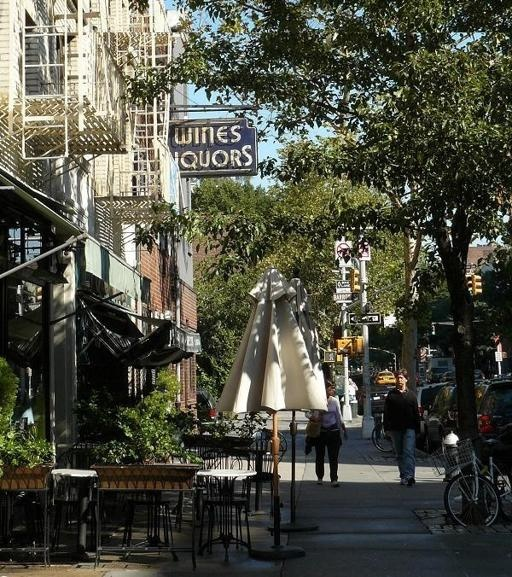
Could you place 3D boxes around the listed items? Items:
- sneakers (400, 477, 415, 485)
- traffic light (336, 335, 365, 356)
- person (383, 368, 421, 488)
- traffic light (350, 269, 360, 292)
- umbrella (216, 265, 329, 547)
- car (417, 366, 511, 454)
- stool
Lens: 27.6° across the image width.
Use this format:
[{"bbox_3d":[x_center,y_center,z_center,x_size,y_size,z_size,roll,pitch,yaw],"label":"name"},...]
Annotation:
[{"bbox_3d":[2.388,3.039,16.468,0.217,0.123,0.374,-2,-4,5],"label":"sneakers"},{"bbox_3d":[2.478,1.524,27.911,0.766,0.608,0.438,0,-7,-10],"label":"traffic light"},{"bbox_3d":[2.350,2.252,16.978,0.591,1.762,1.053,-2,-4,8],"label":"person"},{"bbox_3d":[2.934,-0.234,31.066,0.261,0.448,0.710,-1,-9,2],"label":"traffic light"},{"bbox_3d":[0.130,0.505,10.557,1.050,1.463,1.199,-1,-4,-1],"label":"umbrella"},{"bbox_3d":[3.731,2.245,18.332,1.519,1.429,3.262,-1,-2,0],"label":"car"},{"bbox_3d":[-1.867,2.279,10.913,0.557,0.750,0.602,7,-4,28],"label":"stool"}]
